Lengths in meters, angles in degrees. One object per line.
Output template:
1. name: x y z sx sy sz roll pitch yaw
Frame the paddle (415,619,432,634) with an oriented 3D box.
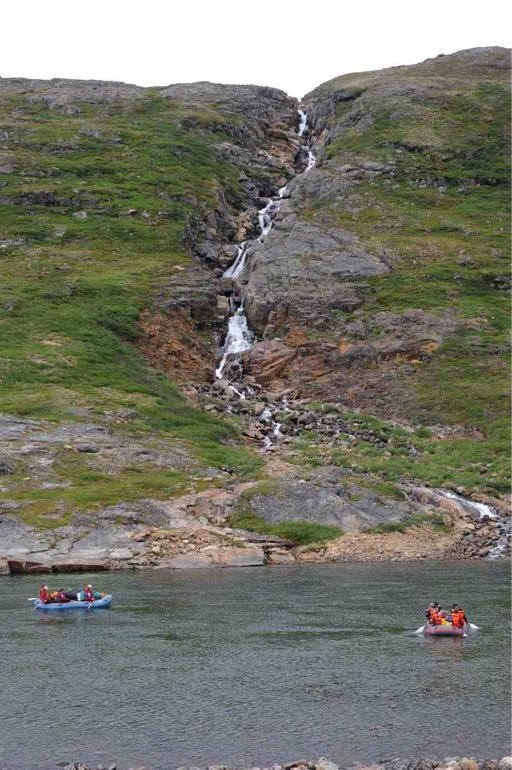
1. paddle: 7.997 11.523 64.968 0.765 0.409 0.248 -38 27 21

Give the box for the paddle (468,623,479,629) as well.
1. paddle: 10.429 11.554 65.459 0.460 0.294 0.662 -2 -3 18

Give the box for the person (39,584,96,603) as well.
1. person: -9.515 10.639 68.663 1.805 0.573 1.290 5 -14 -12
